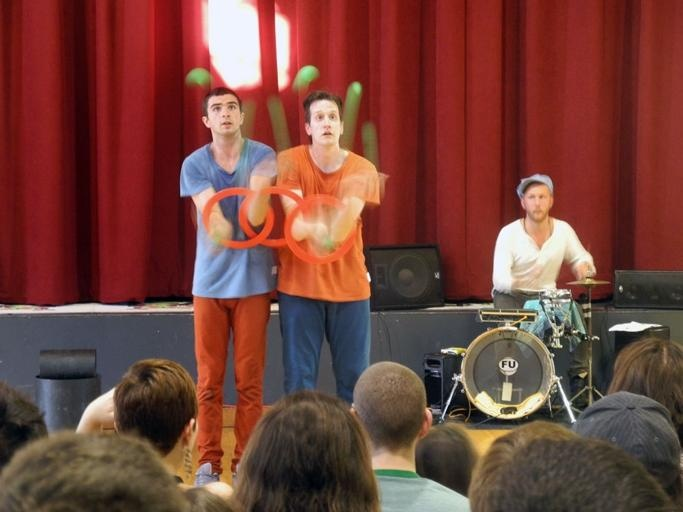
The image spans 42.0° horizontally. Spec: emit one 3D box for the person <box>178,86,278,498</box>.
[{"bbox_3d":[-0.604,0.134,4.738,0.506,2.094,0.308,0,-2,-7],"label":"person"}]

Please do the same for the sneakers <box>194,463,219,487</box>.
[{"bbox_3d":[-0.705,1.131,4.644,0.129,0.107,0.235,0,-3,-9],"label":"sneakers"}]

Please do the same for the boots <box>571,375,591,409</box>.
[{"bbox_3d":[1.538,0.882,5.842,0.137,0.177,0.154,12,-9,-12],"label":"boots"}]

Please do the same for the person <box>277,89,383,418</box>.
[{"bbox_3d":[-0.071,-0.051,4.816,0.559,1.693,0.274,-1,-2,-3],"label":"person"}]

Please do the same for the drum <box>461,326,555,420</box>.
[{"bbox_3d":[1.033,0.665,5.705,0.575,0.722,0.514,1,3,6],"label":"drum"}]

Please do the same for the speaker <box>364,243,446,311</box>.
[{"bbox_3d":[0.415,0.155,6.244,0.569,0.605,0.379,-2,-10,-16],"label":"speaker"}]

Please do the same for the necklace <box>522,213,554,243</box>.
[{"bbox_3d":[1.339,-0.193,6.040,0.131,0.168,0.203,0,12,5],"label":"necklace"}]
